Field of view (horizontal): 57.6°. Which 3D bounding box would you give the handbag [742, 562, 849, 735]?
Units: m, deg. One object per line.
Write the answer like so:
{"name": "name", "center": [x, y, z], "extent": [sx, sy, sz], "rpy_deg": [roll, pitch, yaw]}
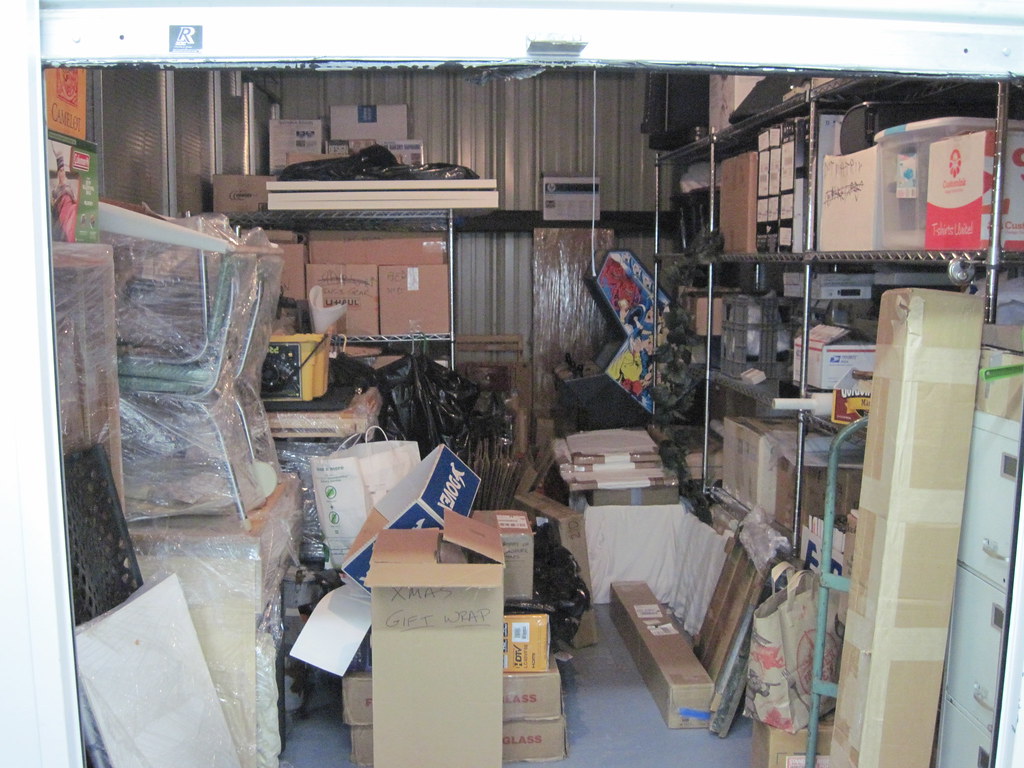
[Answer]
{"name": "handbag", "center": [0.995, 0.962, 3.339], "extent": [0.263, 0.557, 0.174], "rpy_deg": [-2, 9, -12]}

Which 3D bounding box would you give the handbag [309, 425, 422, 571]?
{"name": "handbag", "center": [-0.593, 0.513, 3.820], "extent": [0.419, 0.507, 0.177], "rpy_deg": [-1, 8, -6]}
